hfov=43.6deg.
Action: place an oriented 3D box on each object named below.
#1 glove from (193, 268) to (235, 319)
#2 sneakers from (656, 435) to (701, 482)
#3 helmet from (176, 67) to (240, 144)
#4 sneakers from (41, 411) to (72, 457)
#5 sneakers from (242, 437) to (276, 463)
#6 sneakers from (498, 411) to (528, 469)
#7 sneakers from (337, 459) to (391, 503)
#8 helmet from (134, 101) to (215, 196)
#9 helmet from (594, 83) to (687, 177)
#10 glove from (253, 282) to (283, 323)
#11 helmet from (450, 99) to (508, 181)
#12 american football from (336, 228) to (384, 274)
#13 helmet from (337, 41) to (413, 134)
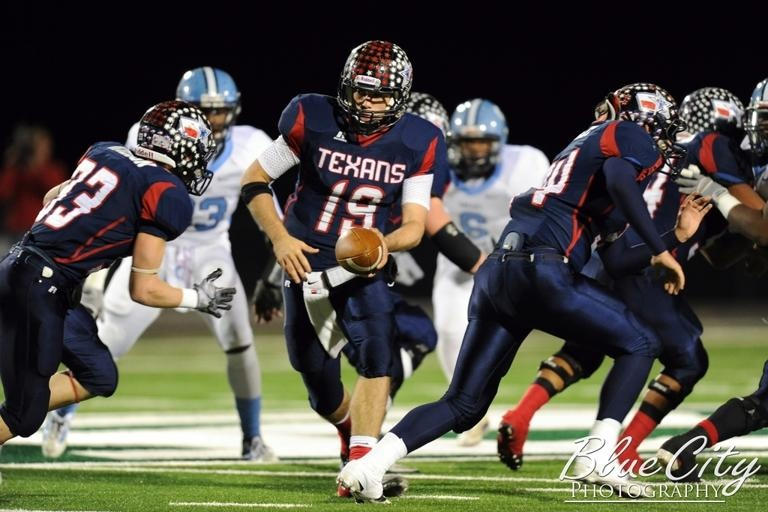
[{"bbox_3d":[-1.016,0.219,5.735,0.272,0.365,0.119,13,51,11],"label":"glove"},{"bbox_3d":[1.712,1.161,5.585,0.272,0.259,0.122,-3,4,4],"label":"sneakers"},{"bbox_3d":[-1.346,-1.179,7.212,0.462,0.489,0.522,-4,29,-31],"label":"helmet"},{"bbox_3d":[-2.273,1.244,6.683,0.144,0.401,0.176,1,-7,-14],"label":"sneakers"},{"bbox_3d":[-0.855,1.345,6.595,0.299,0.126,0.115,-3,-6,41],"label":"sneakers"},{"bbox_3d":[0.809,1.152,5.965,0.137,0.371,0.188,-1,24,41],"label":"sneakers"},{"bbox_3d":[-0.102,1.226,5.198,0.283,0.206,0.138,-17,30,41],"label":"sneakers"},{"bbox_3d":[-1.243,-0.643,5.764,0.427,0.534,0.575,13,5,44],"label":"helmet"},{"bbox_3d":[1.523,-0.780,5.747,0.583,0.478,0.450,21,-13,-32],"label":"helmet"},{"bbox_3d":[-0.807,0.333,6.763,0.222,0.271,0.156,2,-1,-5],"label":"glove"},{"bbox_3d":[0.728,-0.947,7.770,0.465,0.561,0.596,0,15,4],"label":"helmet"},{"bbox_3d":[-0.132,-0.007,5.397,0.280,0.213,0.169,23,31,10],"label":"american football"},{"bbox_3d":[-0.005,-1.009,5.746,0.441,0.458,0.551,12,45,11],"label":"helmet"}]
